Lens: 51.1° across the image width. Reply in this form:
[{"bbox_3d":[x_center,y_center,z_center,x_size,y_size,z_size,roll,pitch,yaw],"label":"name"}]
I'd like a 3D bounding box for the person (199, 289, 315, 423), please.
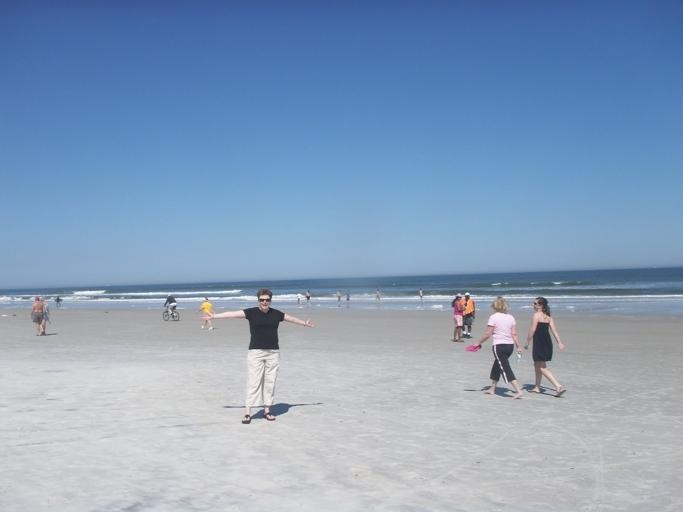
[{"bbox_3d":[-1.295,1.618,11.808,0.929,2.248,0.934,-1,9,-5],"label":"person"}]

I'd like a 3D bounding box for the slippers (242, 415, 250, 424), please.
[{"bbox_3d":[-1.528,2.657,11.563,0.139,0.093,0.337,0,-6,-3],"label":"slippers"}]

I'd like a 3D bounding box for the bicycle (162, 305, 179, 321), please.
[{"bbox_3d":[-8.295,2.821,34.836,1.336,0.706,0.657,-7,2,41],"label":"bicycle"}]
